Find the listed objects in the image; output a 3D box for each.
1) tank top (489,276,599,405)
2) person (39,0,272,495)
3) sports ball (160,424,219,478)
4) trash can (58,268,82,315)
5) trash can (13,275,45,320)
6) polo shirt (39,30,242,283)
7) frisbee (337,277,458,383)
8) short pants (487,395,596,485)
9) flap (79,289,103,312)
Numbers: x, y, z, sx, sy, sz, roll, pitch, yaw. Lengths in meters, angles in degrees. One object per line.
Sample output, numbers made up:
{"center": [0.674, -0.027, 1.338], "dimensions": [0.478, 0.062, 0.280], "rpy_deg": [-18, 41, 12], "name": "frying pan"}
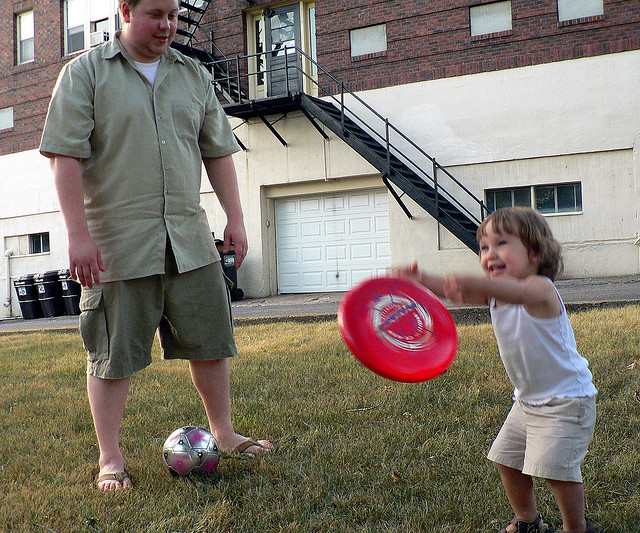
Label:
{"center": [1.357, 0.489, 4.971], "dimensions": [0.426, 0.756, 0.608], "rpy_deg": [-24, 1, -24], "name": "tank top"}
{"center": [-1.096, -0.192, 5.129], "dimensions": [1.198, 2.915, 0.597], "rpy_deg": [-5, 9, -23], "name": "person"}
{"center": [-0.823, 1.178, 5.130], "dimensions": [0.280, 0.311, 0.318], "rpy_deg": [43, 19, 26], "name": "sports ball"}
{"center": [-5.005, 0.522, 16.520], "dimensions": [0.553, 0.950, 0.598], "rpy_deg": [-2, 3, 45], "name": "trash can"}
{"center": [-6.127, 0.665, 17.172], "dimensions": [0.506, 1.010, 0.625], "rpy_deg": [-4, 1, 11], "name": "trash can"}
{"center": [-1.157, -0.719, 5.168], "dimensions": [1.136, 1.544, 0.534], "rpy_deg": [-3, 8, -13], "name": "polo shirt"}
{"center": [0.456, 0.467, 4.921], "dimensions": [0.643, 0.641, 0.148], "rpy_deg": [-38, -9, -44], "name": "frisbee"}
{"center": [1.237, 0.944, 4.543], "dimensions": [0.372, 0.589, 0.646], "rpy_deg": [22, -16, -24], "name": "short pants"}
{"center": [-1.426, 0.209, 5.057], "dimensions": [0.120, 0.113, 0.134], "rpy_deg": [-3, -10, -8], "name": "flap"}
